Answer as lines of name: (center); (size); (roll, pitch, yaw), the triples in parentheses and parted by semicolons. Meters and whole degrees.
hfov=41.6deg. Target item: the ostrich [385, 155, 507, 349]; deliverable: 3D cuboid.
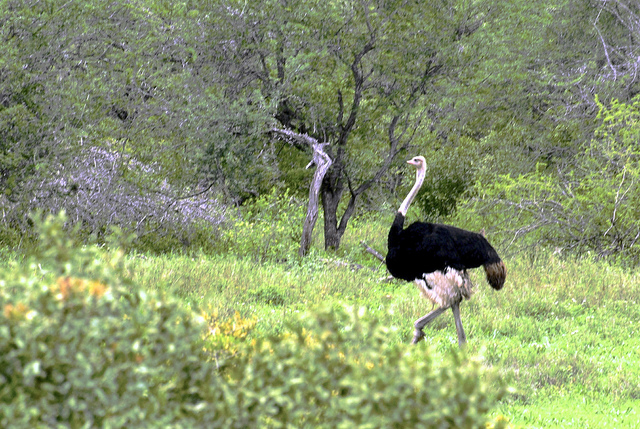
ostrich: (2.563, 1.430, 17.799); (2.425, 2.319, 1.643); (6, 13, 5)
